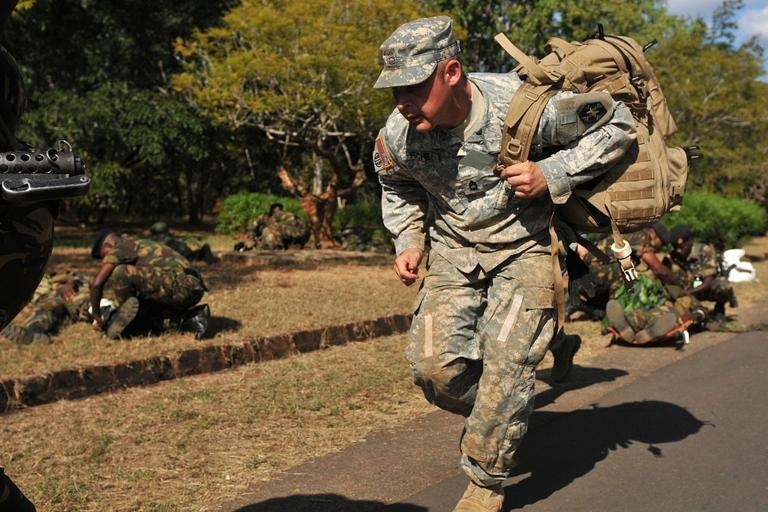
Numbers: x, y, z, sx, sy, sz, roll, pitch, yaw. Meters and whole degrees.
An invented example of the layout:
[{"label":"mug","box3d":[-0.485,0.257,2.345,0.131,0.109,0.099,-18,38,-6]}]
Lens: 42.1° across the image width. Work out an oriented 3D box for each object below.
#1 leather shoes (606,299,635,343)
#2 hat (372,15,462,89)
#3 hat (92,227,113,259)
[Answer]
[{"label":"leather shoes","box3d":[3.238,0.937,13.941,0.235,0.706,0.275,-26,-14,1]},{"label":"hat","box3d":[0.334,-2.096,10.219,0.875,0.324,0.647,-37,32,-10]},{"label":"hat","box3d":[-3.988,-0.164,14.072,0.150,0.377,0.309,24,0,-4]}]
